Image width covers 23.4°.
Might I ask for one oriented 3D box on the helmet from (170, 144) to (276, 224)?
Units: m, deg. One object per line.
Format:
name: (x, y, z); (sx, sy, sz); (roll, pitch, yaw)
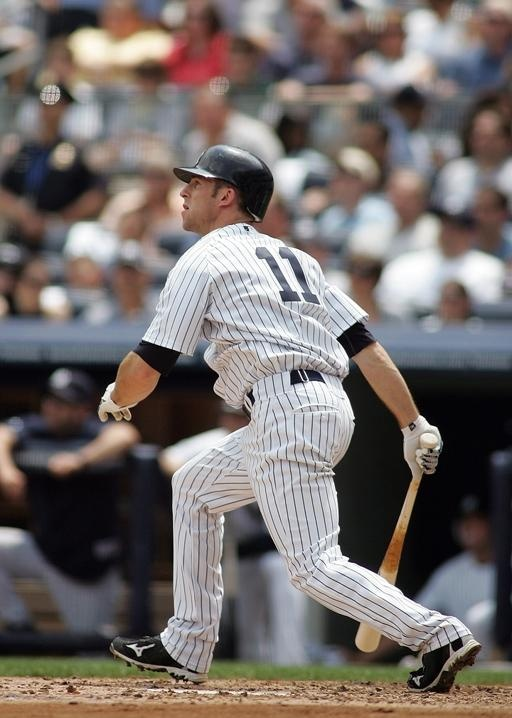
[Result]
helmet: (-0.095, -0.505, 3.456); (0.301, 0.155, 0.195); (19, -4, -7)

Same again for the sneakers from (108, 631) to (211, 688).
sneakers: (-0.249, 0.765, 3.323); (0.304, 0.141, 0.100); (7, 18, 29)

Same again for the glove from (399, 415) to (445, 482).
glove: (0.452, 0.243, 3.360); (0.142, 0.149, 0.076); (-3, 12, 16)

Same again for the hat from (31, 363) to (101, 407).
hat: (-0.879, 0.126, 5.822); (0.165, 0.122, 0.246); (9, 10, -29)

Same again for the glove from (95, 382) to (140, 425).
glove: (-0.465, 0.144, 4.043); (0.079, 0.180, 0.148); (23, 25, 35)
